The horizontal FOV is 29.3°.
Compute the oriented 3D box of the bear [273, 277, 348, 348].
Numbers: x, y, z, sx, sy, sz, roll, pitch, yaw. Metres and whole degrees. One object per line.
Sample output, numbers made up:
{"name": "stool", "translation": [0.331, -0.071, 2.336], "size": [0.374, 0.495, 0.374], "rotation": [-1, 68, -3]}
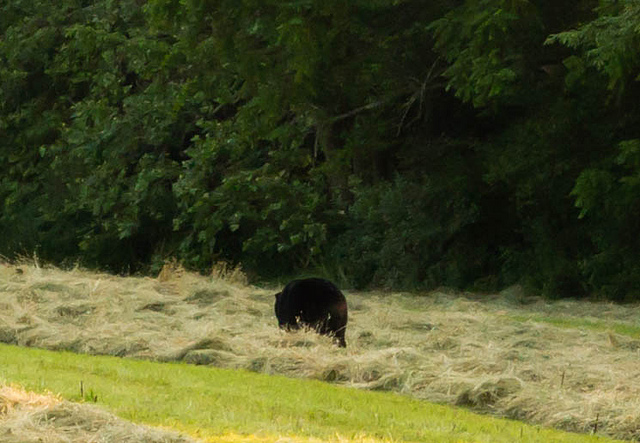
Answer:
{"name": "bear", "translation": [-0.128, 1.859, 25.187], "size": [1.647, 1.285, 0.571], "rotation": [3, 9, 22]}
